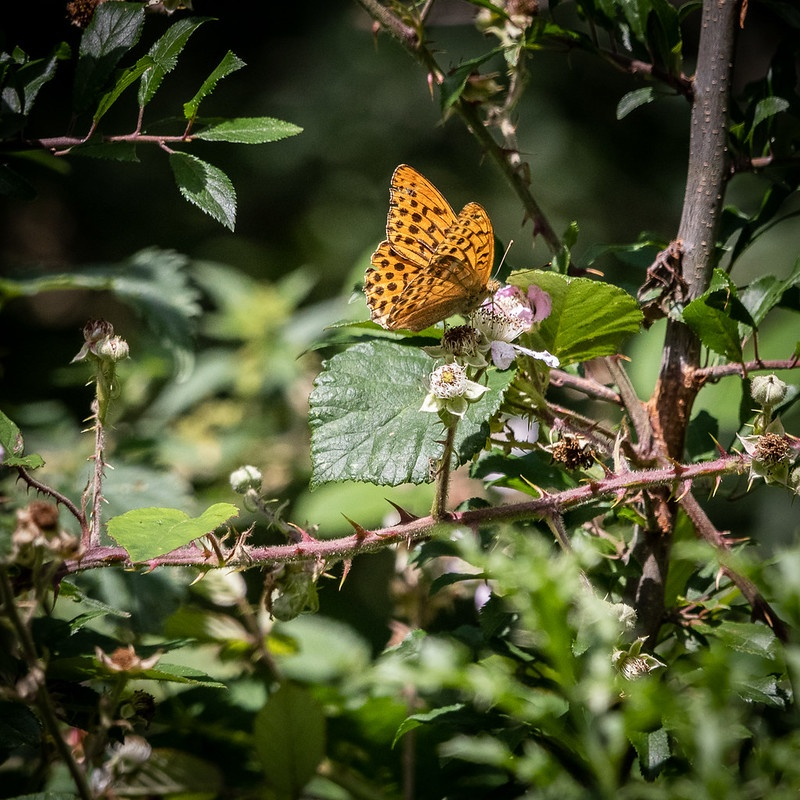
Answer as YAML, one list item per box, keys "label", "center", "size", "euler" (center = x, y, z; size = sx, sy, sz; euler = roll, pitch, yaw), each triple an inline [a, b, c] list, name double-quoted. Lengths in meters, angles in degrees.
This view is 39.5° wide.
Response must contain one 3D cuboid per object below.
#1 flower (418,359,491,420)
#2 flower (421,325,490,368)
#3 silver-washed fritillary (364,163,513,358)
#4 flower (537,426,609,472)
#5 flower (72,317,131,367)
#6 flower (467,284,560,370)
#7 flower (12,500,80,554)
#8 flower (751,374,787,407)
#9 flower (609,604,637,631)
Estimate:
- label: "flower"
  center: [0.071, -0.016, 1.572]
  size: [0.086, 0.071, 0.088]
  euler: [3, 17, -7]
- label: "flower"
  center: [0.086, -0.077, 1.601]
  size: [0.074, 0.023, 0.072]
  euler: [-15, 25, -42]
- label: "silver-washed fritillary"
  center: [0.056, -0.239, 1.882]
  size: [0.340, 0.217, 0.295]
  euler: [-8, 5, -2]
- label: "flower"
  center: [0.262, 0.076, 1.697]
  size: [0.078, 0.076, 0.036]
  euler: [-42, -6, -9]
- label: "flower"
  center: [-0.455, -0.094, 1.698]
  size: [0.077, 0.068, 0.111]
  euler: [1, 17, -13]
- label: "flower"
  center: [0.163, -0.114, 1.641]
  size: [0.146, 0.046, 0.131]
  euler: [-2, 41, -6]
- label: "flower"
  center: [-0.460, 0.164, 1.430]
  size: [0.078, 0.057, 0.086]
  euler: [-3, 18, -25]
- label: "flower"
  center: [0.536, -0.013, 1.630]
  size: [0.055, 0.046, 0.050]
  euler: [1, 11, -4]
- label: "flower"
  center: [0.324, 0.315, 1.602]
  size: [0.039, 0.036, 0.019]
  euler: [-43, 16, -32]
